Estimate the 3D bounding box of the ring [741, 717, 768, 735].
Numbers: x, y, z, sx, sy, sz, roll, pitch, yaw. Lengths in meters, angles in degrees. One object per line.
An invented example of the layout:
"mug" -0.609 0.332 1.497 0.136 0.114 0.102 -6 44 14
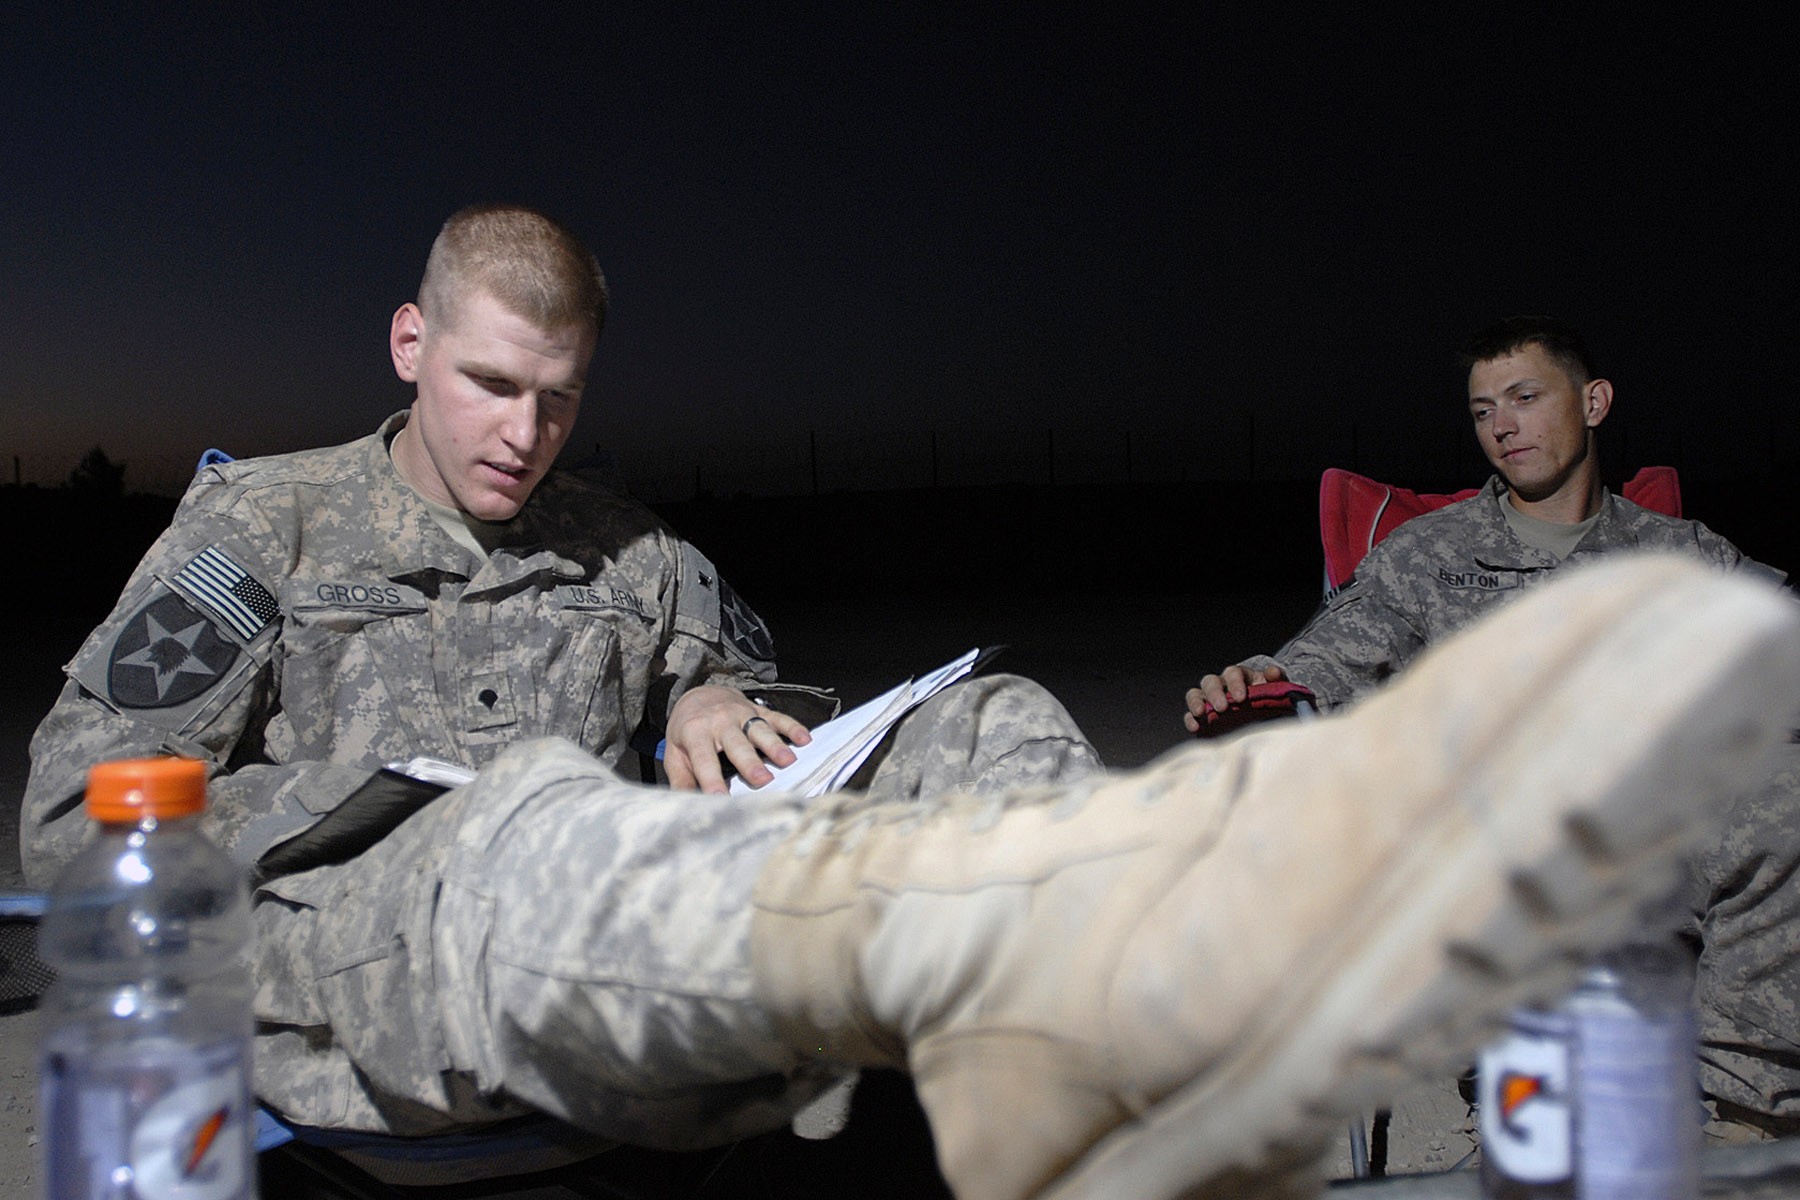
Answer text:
"ring" -0.264 0.224 2.679 0.030 0.007 0.030 -17 10 3
